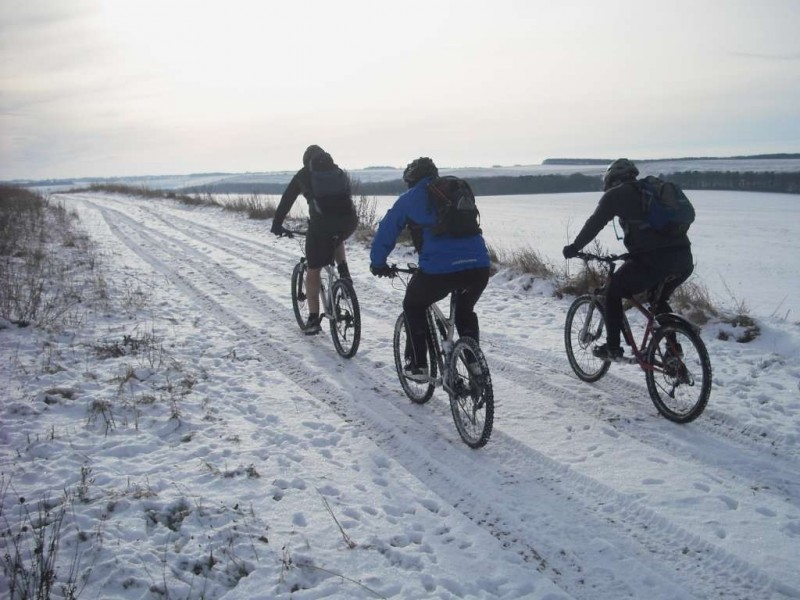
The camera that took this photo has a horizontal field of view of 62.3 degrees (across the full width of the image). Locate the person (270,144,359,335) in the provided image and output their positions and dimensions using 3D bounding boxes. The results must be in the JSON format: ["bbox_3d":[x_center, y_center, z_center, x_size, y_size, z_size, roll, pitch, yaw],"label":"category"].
[{"bbox_3d":[-1.138,-0.732,9.290,1.020,2.746,0.504,3,15,21],"label":"person"}]

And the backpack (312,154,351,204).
[{"bbox_3d":[-0.988,-1.696,9.039,0.585,0.740,0.481,0,10,12],"label":"backpack"}]

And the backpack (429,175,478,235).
[{"bbox_3d":[0.608,-0.949,6.986,0.555,0.728,0.354,-1,-8,-39],"label":"backpack"}]

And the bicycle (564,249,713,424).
[{"bbox_3d":[2.746,0.387,7.976,1.001,1.664,2.622,-1,10,-19],"label":"bicycle"}]

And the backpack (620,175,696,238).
[{"bbox_3d":[2.876,-1.025,7.342,0.641,0.724,0.499,-4,11,32],"label":"backpack"}]

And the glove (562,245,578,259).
[{"bbox_3d":[2.012,-0.575,7.811,0.152,0.173,0.037,3,5,-14],"label":"glove"}]

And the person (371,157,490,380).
[{"bbox_3d":[0.374,-0.171,7.194,1.189,2.280,0.387,0,14,12],"label":"person"}]
